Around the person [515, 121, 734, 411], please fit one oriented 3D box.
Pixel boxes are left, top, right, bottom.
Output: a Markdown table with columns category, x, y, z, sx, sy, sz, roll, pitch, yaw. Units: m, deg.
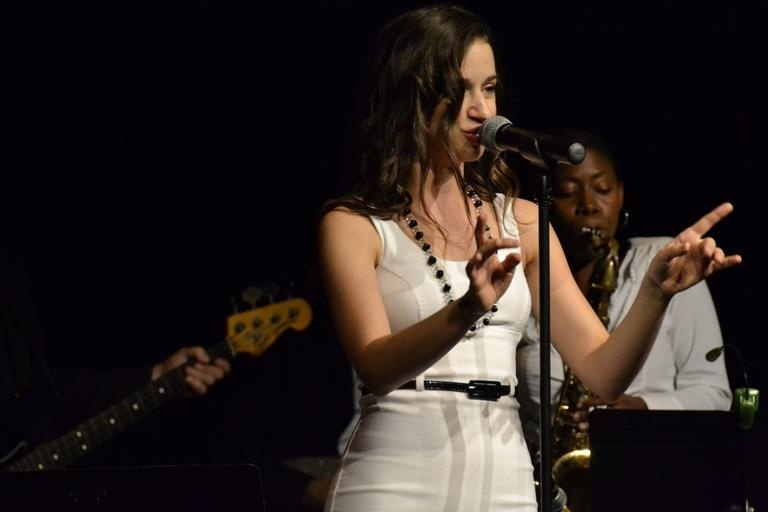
| category | x | y | z | sx | sy | sz | roll | pitch | yaw |
| --- | --- | --- | --- | --- | --- | --- | --- | --- | --- |
| person | 0.936 | 0.154 | 3.098 | 0.747 | 1.322 | 0.750 | -13 | 2 | 22 |

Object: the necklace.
| category | x | y | z | sx | sy | sz | roll | pitch | yaw |
| --- | --- | --- | --- | --- | --- | --- | --- | --- | --- |
| necklace | 0.163 | 0.014 | 2.137 | 0.216 | 0.442 | 0.058 | -23 | -20 | 1 |
